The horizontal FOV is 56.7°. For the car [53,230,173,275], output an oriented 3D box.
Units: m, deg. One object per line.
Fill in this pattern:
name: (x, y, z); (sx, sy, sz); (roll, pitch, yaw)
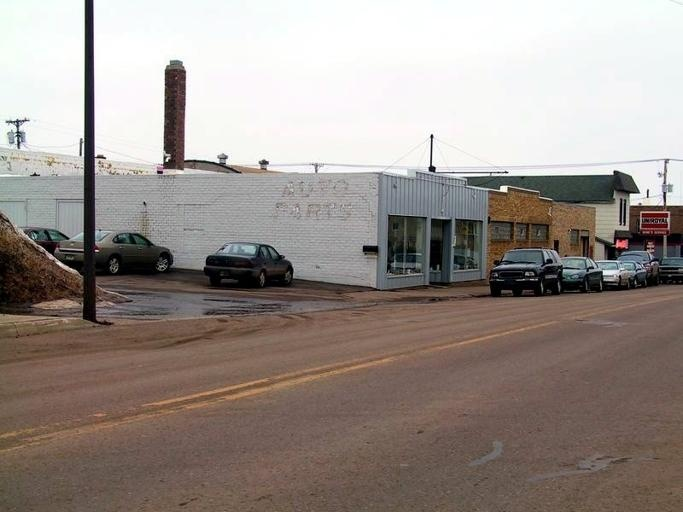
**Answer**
car: (-9.372, -0.104, 26.908); (2.123, 1.497, 4.564); (2, 3, 32)

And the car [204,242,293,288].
car: (-3.553, 0.389, 25.374); (1.667, 1.775, 3.573); (4, 3, 44)

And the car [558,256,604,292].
car: (12.595, 0.937, 33.096); (1.556, 1.218, 2.681); (-2, -6, 27)

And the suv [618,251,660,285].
suv: (20.881, 0.777, 43.721); (2.152, 1.470, 3.966); (-1, -5, 26)

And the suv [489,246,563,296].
suv: (8.581, 0.720, 28.934); (1.778, 1.466, 3.430); (-2, -4, 27)
